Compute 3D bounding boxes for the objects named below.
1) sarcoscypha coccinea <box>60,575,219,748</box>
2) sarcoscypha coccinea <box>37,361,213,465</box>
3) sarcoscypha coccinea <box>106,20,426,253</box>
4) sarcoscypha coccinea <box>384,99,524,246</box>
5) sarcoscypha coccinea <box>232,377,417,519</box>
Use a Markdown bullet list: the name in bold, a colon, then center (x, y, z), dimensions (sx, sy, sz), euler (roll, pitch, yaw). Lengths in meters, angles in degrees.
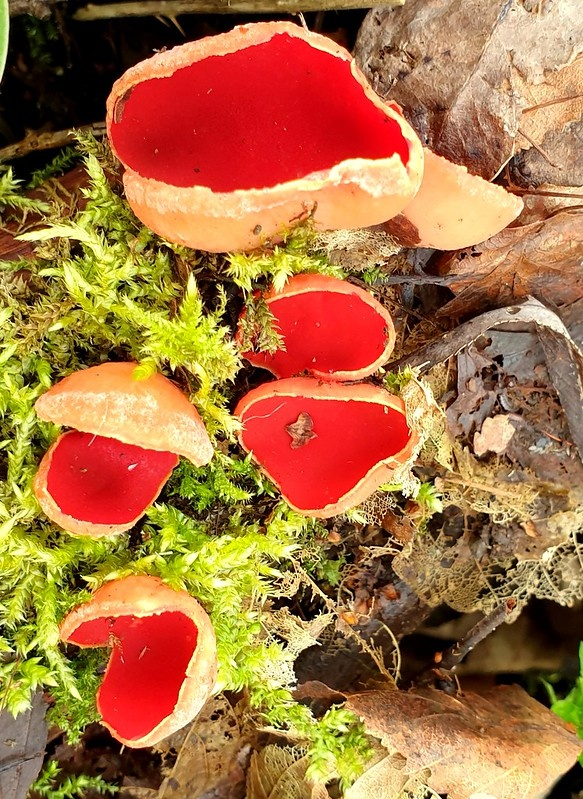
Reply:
- **sarcoscypha coccinea**: center (-0.288, 0.589, 1.763), dimensions (0.400, 0.184, 0.404), euler (-20, 91, 18)
- **sarcoscypha coccinea**: center (-0.334, 0.025, 1.504), dimensions (0.262, 0.255, 0.098), euler (28, 85, 6)
- **sarcoscypha coccinea**: center (-0.123, -0.712, 1.694), dimensions (0.566, 0.273, 0.699), euler (-25, 40, -4)
- **sarcoscypha coccinea**: center (0.352, -0.482, 1.671), dimensions (0.223, 0.329, 0.324), euler (-48, 26, 6)
- **sarcoscypha coccinea**: center (0.091, 0.089, 1.842), dimensions (0.366, 0.267, 0.338), euler (41, 67, 15)
